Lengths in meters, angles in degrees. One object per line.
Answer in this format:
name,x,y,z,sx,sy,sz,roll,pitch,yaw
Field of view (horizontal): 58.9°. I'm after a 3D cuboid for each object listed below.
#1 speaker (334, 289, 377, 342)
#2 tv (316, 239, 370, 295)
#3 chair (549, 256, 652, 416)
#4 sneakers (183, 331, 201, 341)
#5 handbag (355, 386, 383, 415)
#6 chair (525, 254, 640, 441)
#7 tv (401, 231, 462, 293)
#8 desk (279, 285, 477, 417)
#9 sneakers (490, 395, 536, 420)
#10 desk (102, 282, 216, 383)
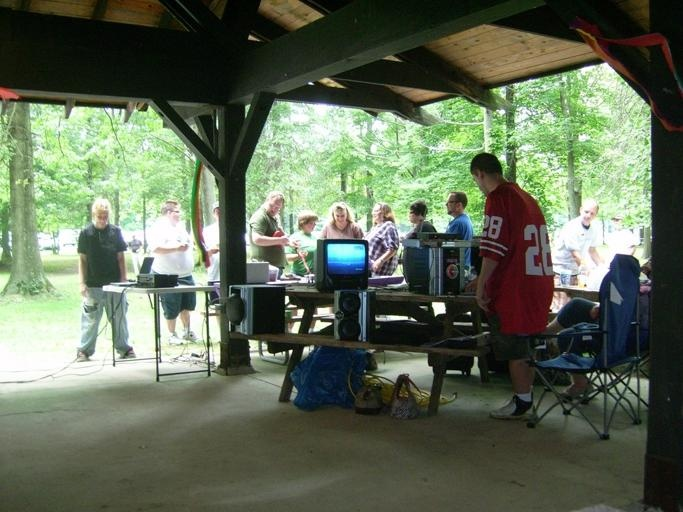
speaker,0.133,0.534,5.449,0.359,0.419,0.370,1,-3,12
tv,-0.009,0.069,5.910,0.627,0.452,0.624,4,4,40
chair,2.016,0.673,5.250,1.085,1.494,0.795,-2,-1,42
sneakers,-2.175,1.163,8.792,0.212,0.131,0.124,0,2,4
handbag,0.245,1.289,5.338,0.232,0.190,0.226,-3,-12,14
chair,2.022,0.697,4.999,0.790,1.338,0.786,3,-6,-42
tv,0.655,0.050,5.512,0.603,0.538,0.487,2,-2,-23
desk,0.679,0.674,5.628,1.532,0.711,1.276,0,-5,28
sneakers,1.476,1.320,5.261,0.454,0.193,0.155,-1,-2,20
desk,-2.292,0.913,7.517,0.905,0.978,1.585,0,-3,-36
